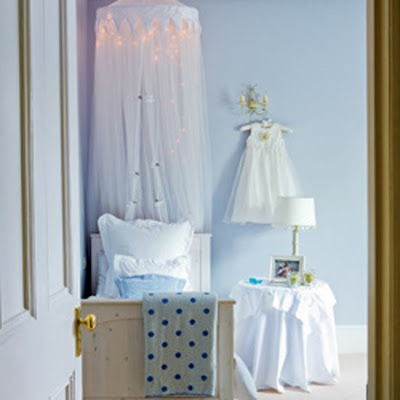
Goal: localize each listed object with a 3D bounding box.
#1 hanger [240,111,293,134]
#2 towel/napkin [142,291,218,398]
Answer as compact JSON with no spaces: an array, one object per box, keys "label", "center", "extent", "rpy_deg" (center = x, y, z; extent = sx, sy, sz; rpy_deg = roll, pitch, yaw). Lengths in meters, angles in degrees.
[{"label":"hanger","center":[0.439,-0.495,4.928],"extent":[0.349,0.111,0.093],"rpy_deg":[-4,3,-5]},{"label":"towel/napkin","center":[-0.083,0.659,3.360],"extent":[0.338,0.477,0.091],"rpy_deg":[-3,3,-6]}]
